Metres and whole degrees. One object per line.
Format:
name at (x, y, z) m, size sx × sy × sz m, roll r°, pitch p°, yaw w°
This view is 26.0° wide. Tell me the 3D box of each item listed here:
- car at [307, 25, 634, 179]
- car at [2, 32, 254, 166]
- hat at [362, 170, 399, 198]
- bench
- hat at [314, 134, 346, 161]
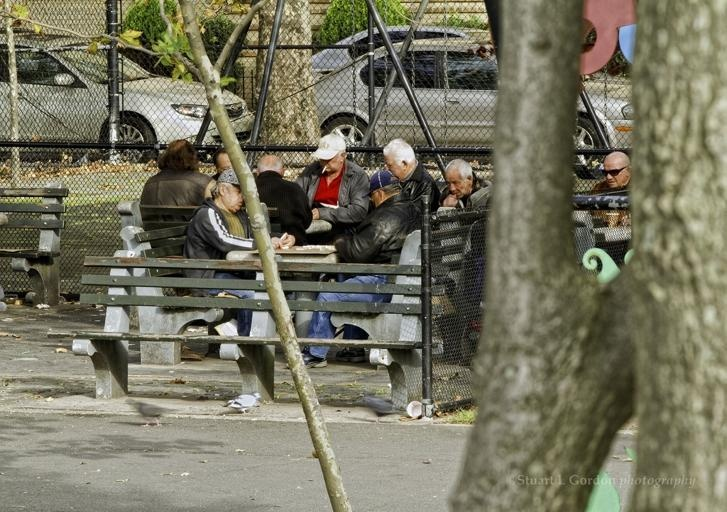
car at (1.326, -1.968, 19.450) m, size 4.246 × 1.520 × 1.877 m, roll -1°, pitch 8°, yaw 5°
car at (-3.114, -1.864, 18.526) m, size 4.170 × 1.373 × 1.848 m, roll -2°, pitch 9°, yaw -4°
hat at (0.155, -0.585, 12.434) m, size 0.173 × 0.145 × 0.256 m, roll -14°, pitch 11°, yaw -39°
bench at (-0.924, 0.322, 11.606) m, size 2.369 × 1.343 × 3.501 m, roll -1°, pitch 2°, yaw -10°
hat at (-0.292, -0.954, 13.836) m, size 0.246 × 0.229 × 0.265 m, roll 0°, pitch 2°, yaw -2°
